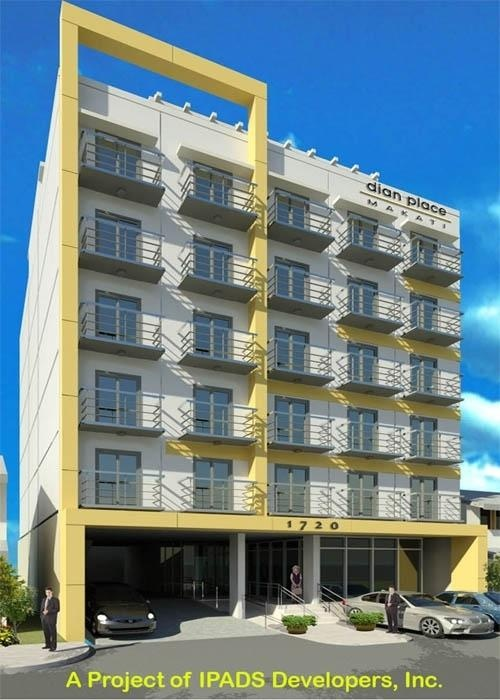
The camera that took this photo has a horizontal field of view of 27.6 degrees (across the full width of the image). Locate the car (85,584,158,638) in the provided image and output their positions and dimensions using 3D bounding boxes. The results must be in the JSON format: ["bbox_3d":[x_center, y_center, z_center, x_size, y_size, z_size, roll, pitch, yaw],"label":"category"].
[{"bbox_3d":[-3.919,7.942,31.022,1.765,1.453,2.354,4,-13,-16],"label":"car"}]
